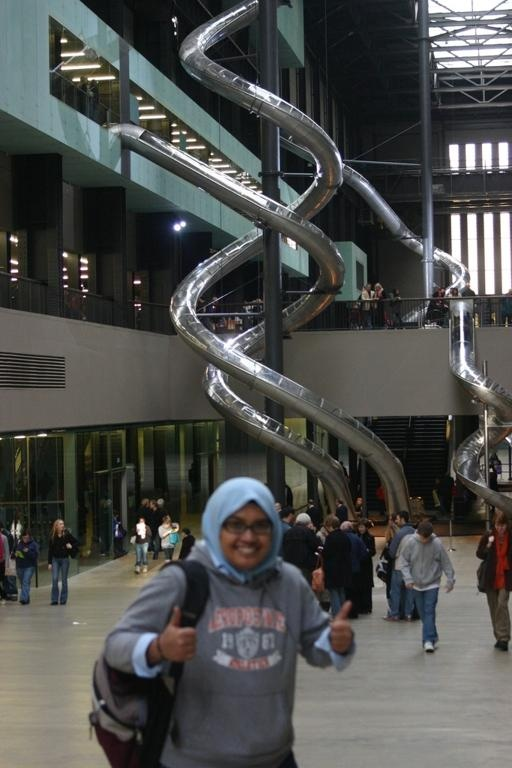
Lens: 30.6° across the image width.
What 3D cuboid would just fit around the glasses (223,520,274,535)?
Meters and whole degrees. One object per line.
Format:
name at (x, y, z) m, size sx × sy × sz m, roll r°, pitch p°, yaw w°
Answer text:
glasses at (-0.021, 0.332, 2.162) m, size 0.108 × 0.034 × 0.020 m, roll 2°, pitch -6°, yaw -5°

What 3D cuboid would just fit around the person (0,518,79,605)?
person at (-3.344, 2.721, 14.284) m, size 1.037 × 1.515 × 0.677 m, roll -3°, pitch -21°, yaw -4°

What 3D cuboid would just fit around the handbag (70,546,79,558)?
handbag at (-2.586, 2.381, 13.392) m, size 0.075 × 0.145 × 0.233 m, roll 1°, pitch -7°, yaw 3°

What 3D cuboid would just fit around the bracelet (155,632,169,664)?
bracelet at (-0.205, 0.590, 2.097) m, size 0.038 × 0.022 × 0.055 m, roll 0°, pitch 10°, yaw -8°

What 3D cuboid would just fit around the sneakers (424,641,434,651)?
sneakers at (1.738, 2.630, 9.427) m, size 0.107 × 0.112 × 0.199 m, roll 0°, pitch -7°, yaw 9°
